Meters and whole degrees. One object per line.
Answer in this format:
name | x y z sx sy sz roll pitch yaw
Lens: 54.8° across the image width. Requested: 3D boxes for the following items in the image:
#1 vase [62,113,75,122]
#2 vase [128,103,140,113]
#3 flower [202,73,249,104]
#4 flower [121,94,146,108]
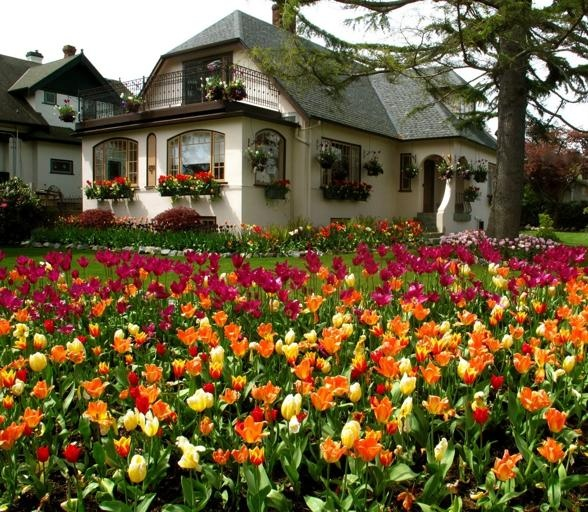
vase | -9.722 -5.977 24.509 0.342 0.338 0.336 -4 18 -11
vase | -5.091 -4.732 18.002 0.253 0.225 0.263 14 22 39
flower | -1.793 -4.557 15.674 0.952 0.680 0.965 -5 14 -37
flower | -5.144 -4.999 18.165 0.675 0.445 0.791 1 5 -18
